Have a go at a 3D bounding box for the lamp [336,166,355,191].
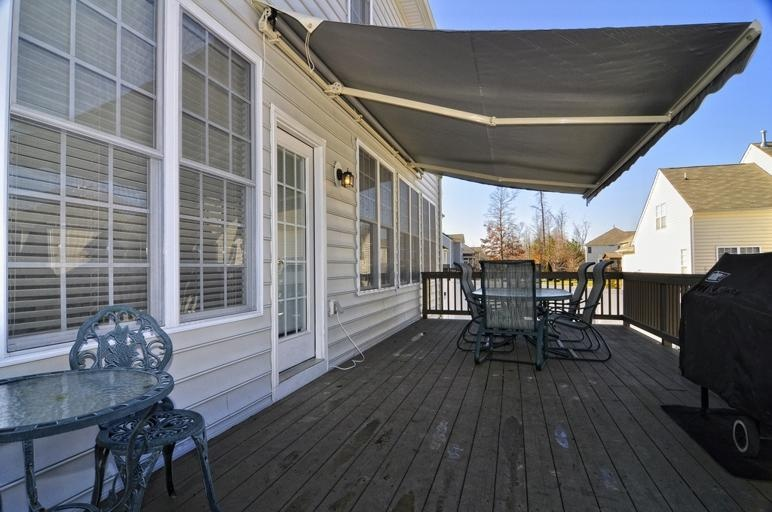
[{"bbox_3d":[-0.495,-0.930,5.769,0.176,0.271,0.261,-4,-4,22],"label":"lamp"}]
